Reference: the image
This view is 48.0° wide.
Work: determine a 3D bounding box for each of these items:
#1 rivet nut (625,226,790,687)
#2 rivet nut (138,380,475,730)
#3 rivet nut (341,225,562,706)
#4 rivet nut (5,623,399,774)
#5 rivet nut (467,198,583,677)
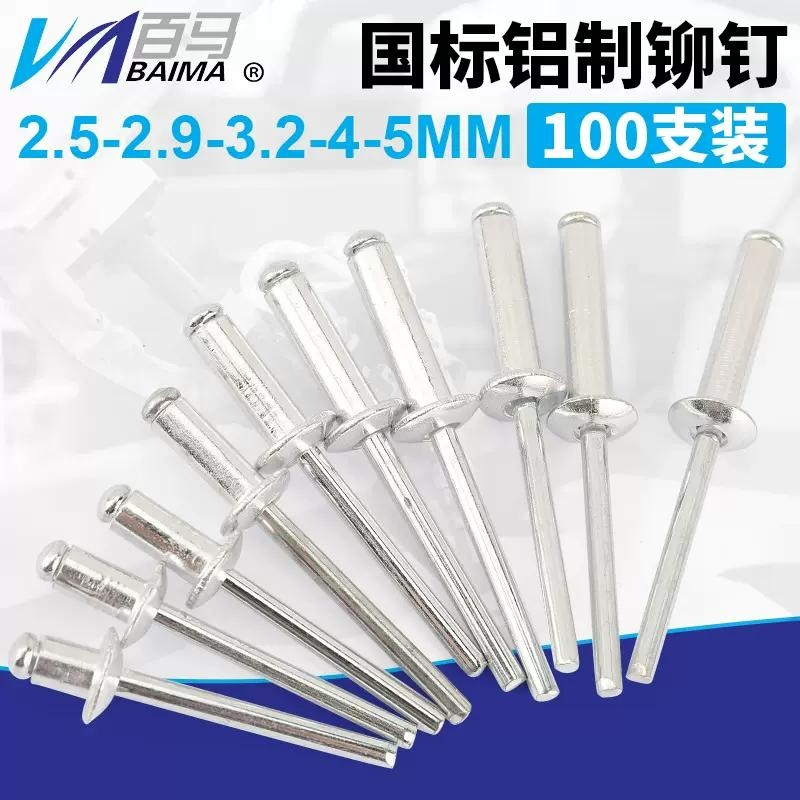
[{"bbox_3d":[0.297,0.011,0.898,0.123,0.500,0.134,14,-8,2],"label":"rivet nut"},{"bbox_3d":[-0.084,0.157,0.842,0.090,0.392,0.093,-47,0,-8],"label":"rivet nut"},{"bbox_3d":[-0.024,0.011,0.878,0.130,0.526,0.140,-19,-5,-17],"label":"rivet nut"},{"bbox_3d":[-0.181,0.282,0.830,0.301,0.087,0.084,13,13,-5],"label":"rivet nut"},{"bbox_3d":[0.062,0.030,0.824,0.109,0.404,0.123,-6,-7,-10],"label":"rivet nut"}]
